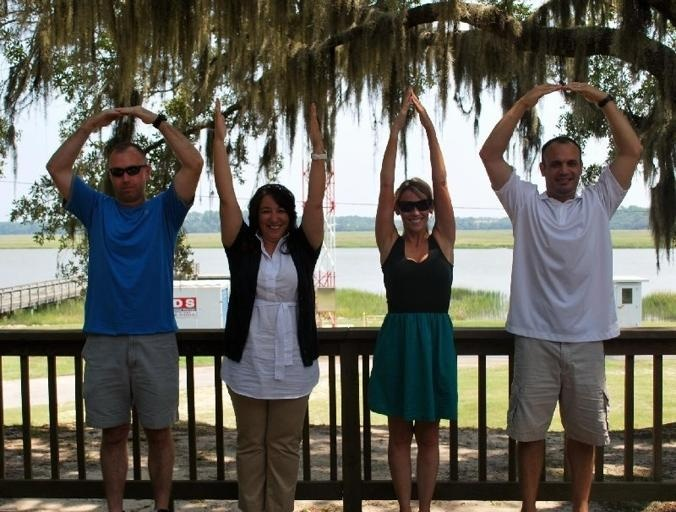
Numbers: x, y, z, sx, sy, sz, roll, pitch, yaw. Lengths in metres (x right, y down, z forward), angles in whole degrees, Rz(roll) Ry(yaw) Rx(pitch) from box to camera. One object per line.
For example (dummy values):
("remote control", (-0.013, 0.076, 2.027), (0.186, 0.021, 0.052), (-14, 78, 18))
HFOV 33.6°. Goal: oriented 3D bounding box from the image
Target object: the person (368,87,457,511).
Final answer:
("person", (0.566, 0.328, 8.649), (0.693, 3.192, 0.282), (-2, 0, 5))
